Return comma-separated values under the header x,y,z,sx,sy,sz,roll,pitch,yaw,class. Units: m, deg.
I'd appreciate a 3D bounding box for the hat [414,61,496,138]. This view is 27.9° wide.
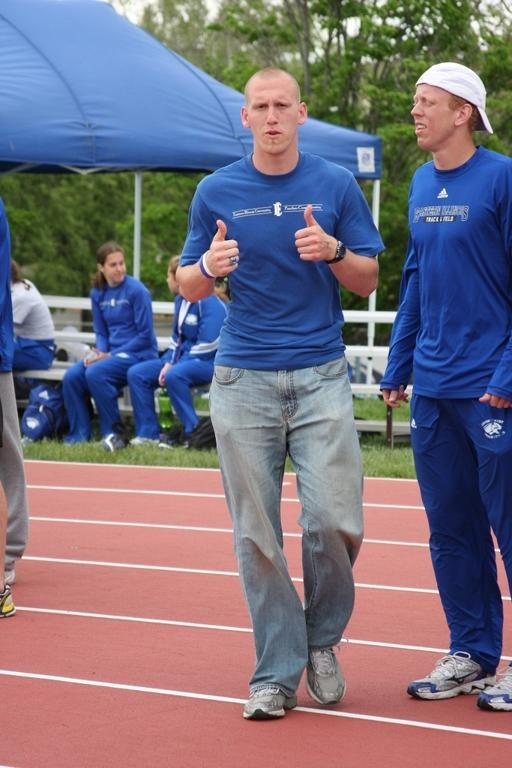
x,y,z,sx,sy,sz,roll,pitch,yaw,class
0.683,-0.994,3.554,0.262,0.257,0.232,0,5,-3,hat

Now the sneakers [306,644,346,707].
x,y,z,sx,sy,sz,roll,pitch,yaw,class
0.237,0.986,3.468,0.100,0.085,0.221,-6,31,-4,sneakers

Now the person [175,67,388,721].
x,y,z,sx,sy,sz,roll,pitch,yaw,class
0.071,0.060,3.356,0.670,2.126,0.406,0,6,5,person

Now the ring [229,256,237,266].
x,y,z,sx,sy,sz,roll,pitch,yaw,class
-0.072,-0.380,3.202,0.017,0.022,0.022,2,9,9,ring

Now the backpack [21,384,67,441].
x,y,z,sx,sy,sz,roll,pitch,yaw,class
-2.026,0.304,9.909,0.369,0.536,0.210,0,-27,13,backpack

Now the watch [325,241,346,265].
x,y,z,sx,sy,sz,roll,pitch,yaw,class
0.258,-0.404,3.216,0.037,0.065,0.056,35,11,-3,watch

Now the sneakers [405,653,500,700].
x,y,z,sx,sy,sz,roll,pitch,yaw,class
0.699,1.019,3.684,0.378,0.157,0.132,-2,-1,-16,sneakers

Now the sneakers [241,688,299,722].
x,y,z,sx,sy,sz,roll,pitch,yaw,class
0.046,1.049,3.421,0.093,0.092,0.217,4,5,24,sneakers

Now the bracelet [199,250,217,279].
x,y,z,sx,sy,sz,roll,pitch,yaw,class
-0.165,-0.379,3.290,0.073,0.077,0.031,0,-22,-35,bracelet
